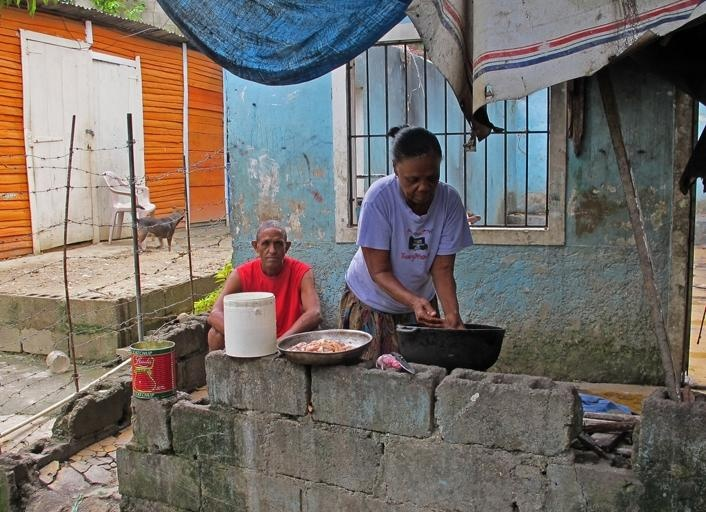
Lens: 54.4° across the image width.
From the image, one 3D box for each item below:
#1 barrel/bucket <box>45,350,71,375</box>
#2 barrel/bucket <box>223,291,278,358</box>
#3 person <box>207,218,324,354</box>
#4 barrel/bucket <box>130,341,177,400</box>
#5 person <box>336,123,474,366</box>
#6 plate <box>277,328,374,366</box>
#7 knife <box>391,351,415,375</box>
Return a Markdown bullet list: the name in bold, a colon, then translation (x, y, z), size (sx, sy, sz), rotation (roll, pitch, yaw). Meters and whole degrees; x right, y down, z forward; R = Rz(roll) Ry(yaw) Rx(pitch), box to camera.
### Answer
- **barrel/bucket**: translation (-3.608, 1.294, 8.361), size (0.245, 0.290, 0.237), rotation (-25, 0, 0)
- **barrel/bucket**: translation (-0.708, 0.454, 4.734), size (0.362, 0.423, 0.367), rotation (0, 13, 0)
- **person**: translation (-0.691, 0.306, 5.536), size (0.849, 1.188, 0.922), rotation (2, 14, 0)
- **barrel/bucket**: translation (-1.465, 0.822, 5.082), size (0.310, 0.376, 0.331), rotation (0, 8, 0)
- **person**: translation (0.329, -0.074, 4.593), size (0.888, 1.567, 0.542), rotation (-1, 4, 14)
- **plate**: translation (-0.184, 0.616, 4.589), size (0.622, 0.209, 0.419), rotation (-2, 3, -7)
- **knife**: translation (0.327, 0.694, 4.411), size (0.075, 0.046, 0.143), rotation (0, 7, -36)
